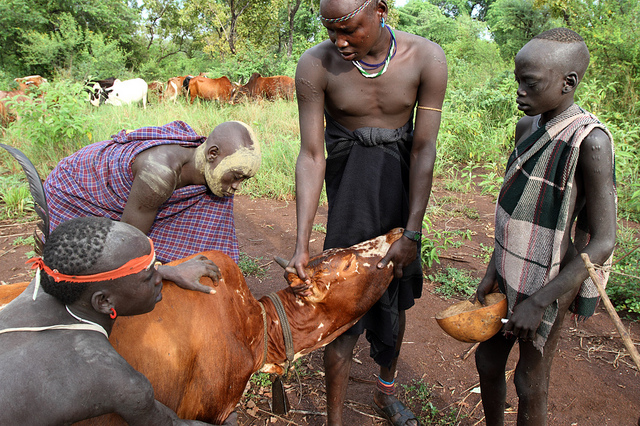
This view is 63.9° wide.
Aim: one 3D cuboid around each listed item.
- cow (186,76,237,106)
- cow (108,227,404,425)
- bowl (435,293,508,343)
[{"bbox_3d":[-3.360,-3.750,16.232,1.961,1.081,0.586,5,11,9],"label":"cow"},{"bbox_3d":[-0.406,0.658,4.085,2.496,1.411,0.797,-13,20,-17],"label":"cow"},{"bbox_3d":[1.147,0.812,3.800,0.531,0.351,0.563,-17,-12,-4],"label":"bowl"}]
